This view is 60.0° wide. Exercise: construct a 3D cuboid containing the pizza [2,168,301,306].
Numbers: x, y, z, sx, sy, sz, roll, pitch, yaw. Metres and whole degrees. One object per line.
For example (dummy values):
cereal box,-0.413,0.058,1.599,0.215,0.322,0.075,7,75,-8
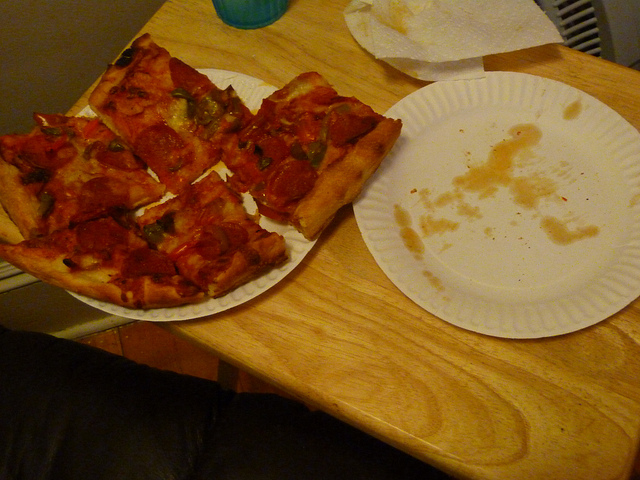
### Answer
pizza,-0.568,0.064,2.015,0.751,0.222,0.486,-30,81,-4
